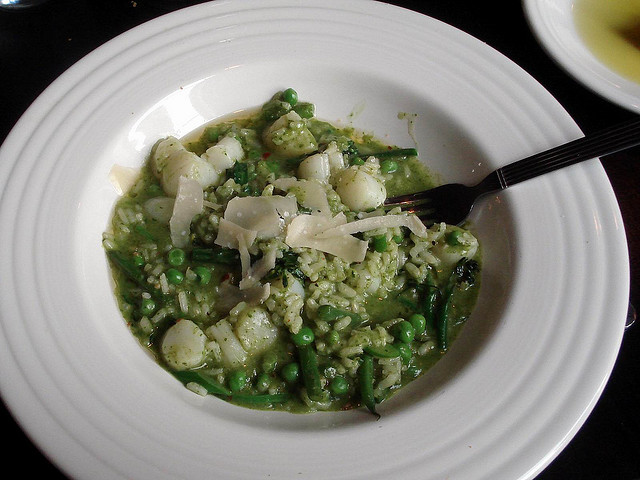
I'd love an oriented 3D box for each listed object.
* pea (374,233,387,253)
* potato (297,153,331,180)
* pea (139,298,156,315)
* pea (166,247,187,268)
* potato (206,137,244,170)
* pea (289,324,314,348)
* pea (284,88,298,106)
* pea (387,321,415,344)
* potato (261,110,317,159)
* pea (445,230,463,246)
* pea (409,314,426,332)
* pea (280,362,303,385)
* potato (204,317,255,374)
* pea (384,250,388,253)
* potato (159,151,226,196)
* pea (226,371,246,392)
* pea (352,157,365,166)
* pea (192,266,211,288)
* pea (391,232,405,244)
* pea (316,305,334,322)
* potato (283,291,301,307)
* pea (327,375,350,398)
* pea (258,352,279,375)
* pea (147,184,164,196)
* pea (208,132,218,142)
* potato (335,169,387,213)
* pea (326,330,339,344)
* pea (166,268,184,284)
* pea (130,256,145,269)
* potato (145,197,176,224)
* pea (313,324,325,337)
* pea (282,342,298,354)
[{"bbox_3d":[0.296,0.015,3.033,0.061,0.046,0.081,0,91,16],"label":"pea"},{"bbox_3d":[-0.026,-0.375,3.243,0.158,0.118,0.126,-28,120,-2],"label":"potato"},{"bbox_3d":[-0.839,0.320,2.947,0.076,0.034,0.074,-8,87,-2],"label":"pea"},{"bbox_3d":[-0.726,0.081,3.063,0.078,0.077,0.102,-29,31,-21],"label":"pea"},{"bbox_3d":[-0.500,-0.456,3.262,0.190,0.103,0.144,-31,77,-19],"label":"potato"},{"bbox_3d":[-0.090,0.446,2.898,0.098,0.064,0.097,-36,79,-20],"label":"pea"},{"bbox_3d":[-0.163,-0.799,3.414,0.069,0.057,0.091,-1,82,-18],"label":"pea"},{"bbox_3d":[0.396,0.443,2.931,0.089,0.118,0.090,8,80,-32],"label":"pea"},{"bbox_3d":[-0.170,-0.558,3.346,0.280,0.203,0.239,-16,87,-2],"label":"potato"},{"bbox_3d":[0.689,-0.004,3.107,0.075,0.040,0.075,8,75,5],"label":"pea"},{"bbox_3d":[0.479,0.404,2.976,0.078,0.077,0.093,-5,95,-1],"label":"pea"},{"bbox_3d":[-0.133,0.624,2.836,0.082,0.110,0.083,7,78,4],"label":"pea"},{"bbox_3d":[-0.426,0.506,2.873,0.141,0.058,0.251,-26,88,-3],"label":"potato"},{"bbox_3d":[0.329,0.055,3.063,0.017,0.012,0.006,-1,69,24],"label":"pea"},{"bbox_3d":[-0.672,-0.342,3.218,0.258,0.288,0.100,30,90,40],"label":"potato"},{"bbox_3d":[-0.395,0.658,2.837,0.092,0.057,0.090,-1,87,-1],"label":"pea"},{"bbox_3d":[0.209,-0.431,3.330,0.067,0.060,0.047,-8,87,-1],"label":"pea"},{"bbox_3d":[-0.582,0.175,2.993,0.053,0.096,0.094,-8,106,-34],"label":"pea"},{"bbox_3d":[0.404,-0.006,3.141,0.050,0.040,0.054,-7,36,-9],"label":"pea"},{"bbox_3d":[0.024,0.349,2.923,0.085,0.046,0.079,4,87,-1],"label":"pea"},{"bbox_3d":[-0.142,0.275,2.925,0.081,0.068,0.055,-44,88,-3],"label":"potato"},{"bbox_3d":[0.086,0.678,2.878,0.077,0.103,0.081,-4,113,-11],"label":"pea"},{"bbox_3d":[-0.244,0.575,2.867,0.075,0.029,0.096,5,51,-4],"label":"pea"},{"bbox_3d":[-0.870,-0.256,3.212,0.059,0.058,0.060,-5,40,17],"label":"pea"},{"bbox_3d":[-0.592,-0.566,3.355,0.049,0.050,0.037,3,83,39],"label":"pea"},{"bbox_3d":[0.212,-0.259,3.189,0.257,0.128,0.237,-5,87,-1],"label":"potato"},{"bbox_3d":[0.059,0.460,2.889,0.060,0.057,0.060,1,87,-1],"label":"pea"},{"bbox_3d":[-0.708,0.175,2.972,0.058,0.060,0.079,-22,68,-4],"label":"pea"},{"bbox_3d":[-0.909,0.109,3.012,0.069,0.031,0.061,-9,87,-2],"label":"pea"},{"bbox_3d":[-0.827,-0.165,3.124,0.151,0.064,0.137,15,86,0],"label":"potato"},{"bbox_3d":[-0.016,0.434,2.935,0.036,0.013,0.047,-3,99,28],"label":"pea"},{"bbox_3d":[-0.144,0.516,2.931,0.052,0.057,0.038,10,79,-38],"label":"pea"}]
